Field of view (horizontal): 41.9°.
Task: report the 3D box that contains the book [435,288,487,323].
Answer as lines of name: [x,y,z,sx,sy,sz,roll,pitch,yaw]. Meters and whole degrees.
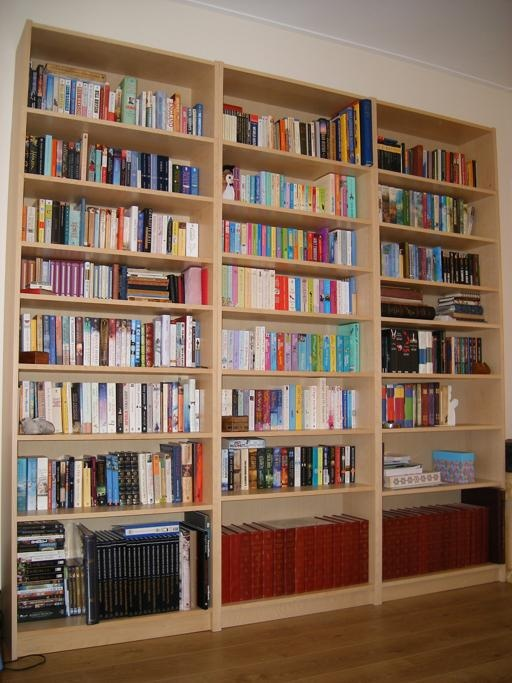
book: [1.187,-0.201,3.871,0.192,0.082,0.240,1,-2,-19]

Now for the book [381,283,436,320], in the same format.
book: [0.798,-0.206,3.655,0.237,0.230,0.082,0,5,-16]

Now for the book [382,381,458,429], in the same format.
book: [0.882,0.346,3.622,0.550,0.247,0.111,4,-5,-41]

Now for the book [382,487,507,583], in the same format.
book: [1.002,1.020,3.590,0.845,0.415,0.256,4,-4,-38]

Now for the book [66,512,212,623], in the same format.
book: [-0.453,0.953,2.793,0.539,0.395,0.377,-3,6,-27]

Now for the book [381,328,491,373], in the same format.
book: [0.998,0.064,3.719,0.840,0.246,0.136,4,-4,-36]

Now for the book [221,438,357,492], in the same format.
book: [0.178,0.596,3.262,0.800,0.228,0.079,4,-4,-35]

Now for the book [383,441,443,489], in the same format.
book: [0.812,0.651,3.519,0.220,0.104,0.296,1,-1,-28]

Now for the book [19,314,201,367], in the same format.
book: [-0.598,-0.011,2.863,0.775,0.231,0.181,4,-5,-41]

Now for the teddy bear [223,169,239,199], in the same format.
teddy bear: [-0.127,-0.758,3.196,0.043,0.162,0.091,-2,-5,42]

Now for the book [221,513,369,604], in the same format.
book: [0.209,1.027,3.147,0.817,0.303,0.141,4,-4,-37]
